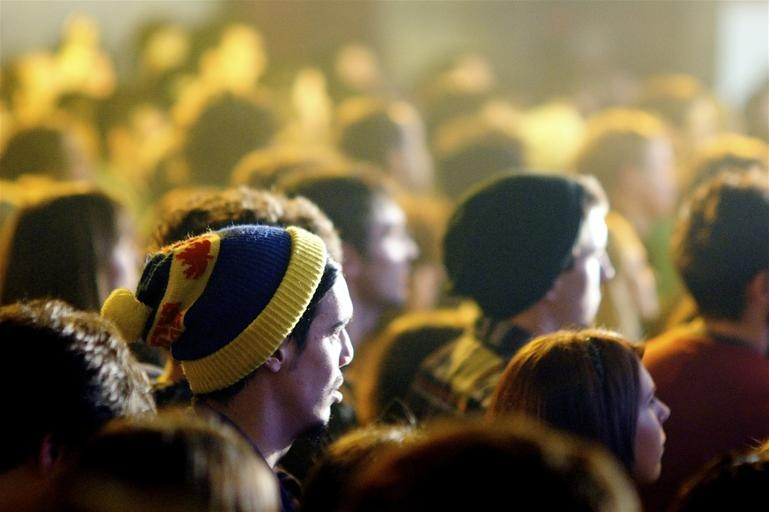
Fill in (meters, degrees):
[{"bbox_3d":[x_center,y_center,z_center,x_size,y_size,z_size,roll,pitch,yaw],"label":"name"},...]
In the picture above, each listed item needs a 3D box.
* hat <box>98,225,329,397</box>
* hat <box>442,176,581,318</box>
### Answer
[{"bbox_3d":[-0.451,0.141,2.751,0.683,0.424,0.548,-18,13,-11],"label":"hat"},{"bbox_3d":[0.459,-0.039,3.367,0.429,0.489,0.573,9,-13,3],"label":"hat"}]
